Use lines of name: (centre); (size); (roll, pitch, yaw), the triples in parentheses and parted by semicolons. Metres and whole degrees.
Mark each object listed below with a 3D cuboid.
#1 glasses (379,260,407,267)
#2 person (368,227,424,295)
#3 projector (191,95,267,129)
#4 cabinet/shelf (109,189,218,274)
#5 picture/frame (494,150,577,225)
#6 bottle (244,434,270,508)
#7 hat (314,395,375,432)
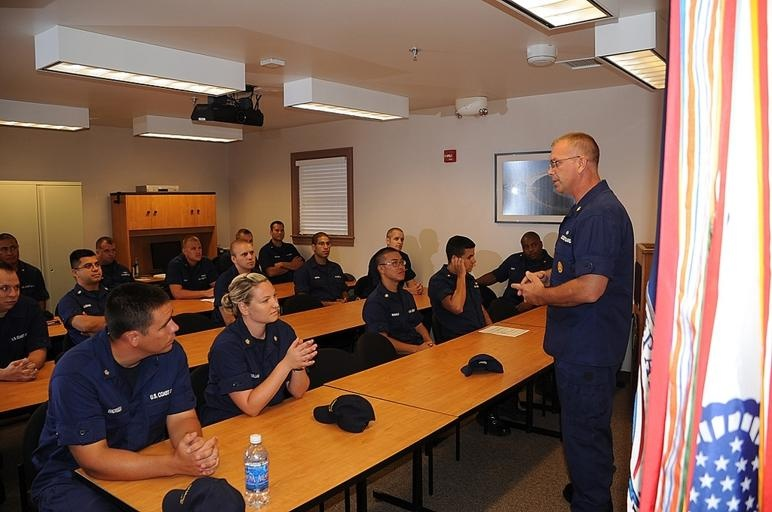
glasses: (0.046, 0.061, 4.336); (0.215, 0.074, 0.101); (-4, 6, -10)
person: (0.157, 0.035, 6.571); (0.739, 0.745, 0.613); (5, -1, 20)
projector: (-1.581, -1.461, 5.501); (0.368, 0.321, 0.592); (9, 12, 39)
cabinet/shelf: (-3.408, -0.381, 8.076); (0.428, 1.173, 1.285); (4, 8, 38)
picture/frame: (1.780, -0.788, 6.371); (0.975, 0.807, 0.023); (-1, 5, -7)
bottle: (-0.500, 0.804, 2.076); (0.102, 0.237, 0.232); (-5, 6, -15)
hat: (-0.201, 0.747, 2.583); (0.224, 0.082, 0.163); (8, 19, 16)
